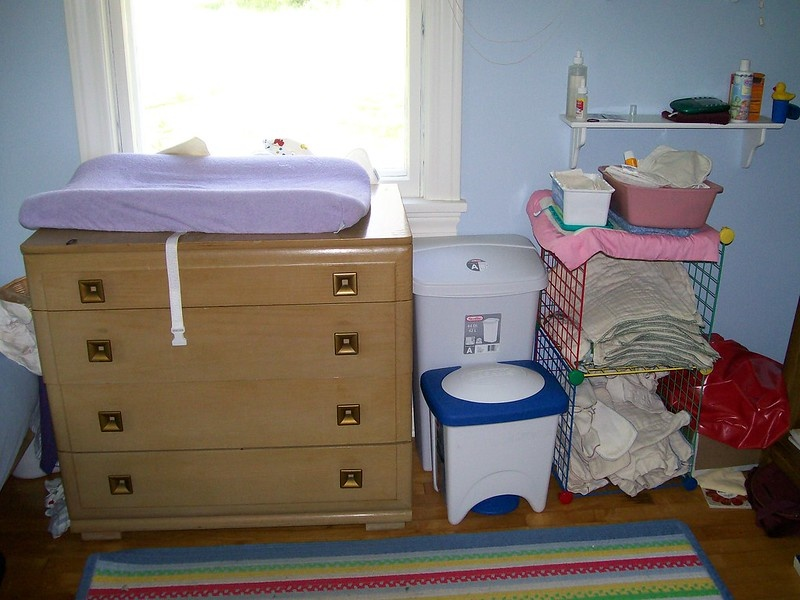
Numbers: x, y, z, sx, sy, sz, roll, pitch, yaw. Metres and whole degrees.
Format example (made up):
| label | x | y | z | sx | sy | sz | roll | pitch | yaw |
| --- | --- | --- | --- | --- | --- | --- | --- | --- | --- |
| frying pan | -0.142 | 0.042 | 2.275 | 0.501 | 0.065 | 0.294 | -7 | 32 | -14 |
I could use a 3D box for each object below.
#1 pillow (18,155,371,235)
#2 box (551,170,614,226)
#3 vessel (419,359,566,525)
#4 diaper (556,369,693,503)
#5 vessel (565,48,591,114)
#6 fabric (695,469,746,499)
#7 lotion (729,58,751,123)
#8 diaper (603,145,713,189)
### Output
| label | x | y | z | sx | sy | sz | roll | pitch | yaw |
| --- | --- | --- | --- | --- | --- | --- | --- | --- | --- |
| pillow | -0.668 | -0.360 | 2.408 | 0.979 | 0.160 | 0.516 | 1 | 17 | -4 |
| box | 0.701 | -0.391 | 2.672 | 0.227 | 0.154 | 0.325 | 5 | 19 | 10 |
| vessel | 0.358 | 0.578 | 2.748 | 0.560 | 0.538 | 0.376 | -4 | 19 | -14 |
| diaper | 0.922 | 0.539 | 2.781 | 0.491 | 0.163 | 0.473 | -4 | 56 | -6 |
| vessel | 0.725 | -0.874 | 2.772 | 0.087 | 0.280 | 0.084 | 1 | 24 | 10 |
| fabric | 1.337 | 0.763 | 2.835 | 0.134 | 0.037 | 0.135 | 2 | 39 | -12 |
| lotion | 1.367 | -0.838 | 2.737 | 0.078 | 0.229 | 0.107 | 7 | 23 | 24 |
| diaper | 0.984 | -0.487 | 2.536 | 0.228 | 0.081 | 0.238 | 14 | 28 | 40 |
